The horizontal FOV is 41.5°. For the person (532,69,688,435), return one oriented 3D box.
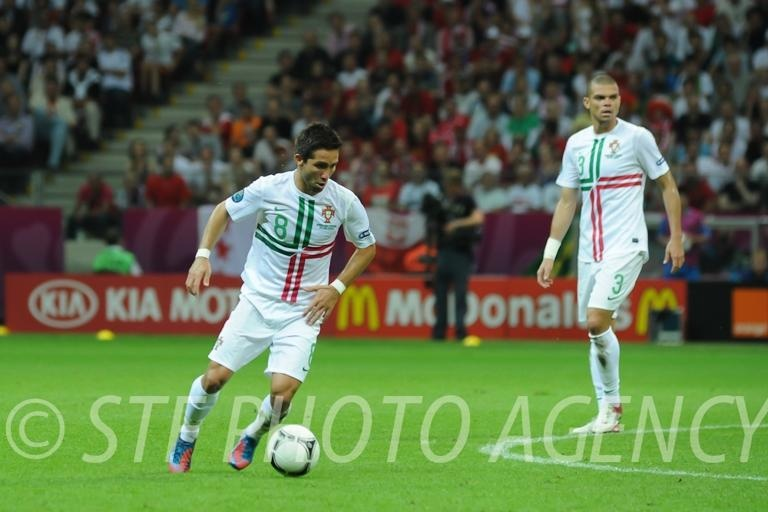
[{"bbox_3d":[2.392,-0.046,10.837,1.426,3.763,0.788,3,7,16],"label":"person"}]

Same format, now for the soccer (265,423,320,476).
[{"bbox_3d":[-0.824,1.827,9.483,0.422,0.466,0.452,8,-24,6],"label":"soccer"}]

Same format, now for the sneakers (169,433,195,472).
[{"bbox_3d":[-1.926,1.895,9.709,0.232,0.340,0.207,-2,8,-21],"label":"sneakers"}]

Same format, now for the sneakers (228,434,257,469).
[{"bbox_3d":[-1.338,1.887,9.733,0.156,0.456,0.184,26,1,-12],"label":"sneakers"}]

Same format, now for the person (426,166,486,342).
[{"bbox_3d":[1.024,0.045,15.254,0.502,2.724,0.869,-6,9,-41],"label":"person"}]
